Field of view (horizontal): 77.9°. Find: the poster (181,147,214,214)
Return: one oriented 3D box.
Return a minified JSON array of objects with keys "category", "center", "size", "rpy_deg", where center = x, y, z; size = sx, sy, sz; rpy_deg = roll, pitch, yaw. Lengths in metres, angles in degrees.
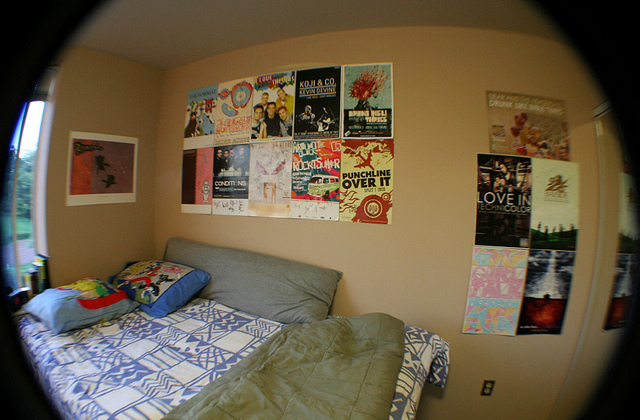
[{"category":"poster","center":[-0.982,-0.233,3.147],"size":[0.307,0.513,0.056],"rpy_deg":[6,3,30]}]

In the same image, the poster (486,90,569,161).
[{"category":"poster","center":[1.215,-0.490,2.279],"size":[0.448,0.334,0.007],"rpy_deg":[4,8,30]}]

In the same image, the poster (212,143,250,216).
[{"category":"poster","center":[-0.686,-0.235,3.031],"size":[0.329,0.538,0.037],"rpy_deg":[6,3,26]}]

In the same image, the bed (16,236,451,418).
[{"category":"bed","center":[-0.520,0.842,2.373],"size":[2.035,0.534,1.165],"rpy_deg":[10,27,22]}]

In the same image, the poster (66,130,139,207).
[{"category":"poster","center":[-1.565,-0.299,2.825],"size":[0.598,0.468,0.022],"rpy_deg":[5,2,13]}]
